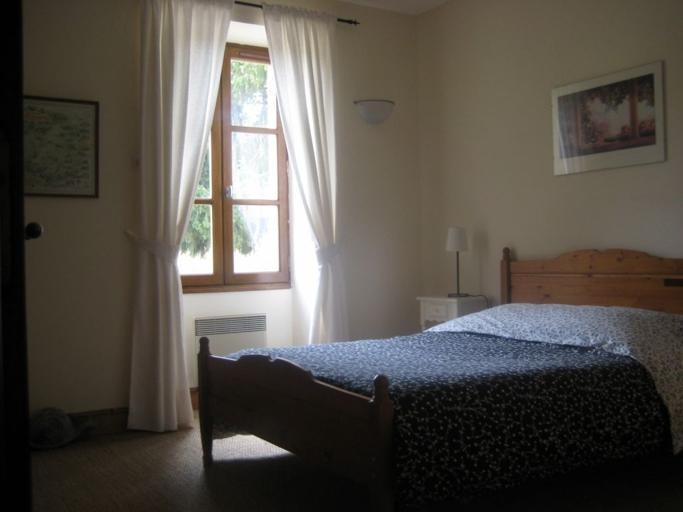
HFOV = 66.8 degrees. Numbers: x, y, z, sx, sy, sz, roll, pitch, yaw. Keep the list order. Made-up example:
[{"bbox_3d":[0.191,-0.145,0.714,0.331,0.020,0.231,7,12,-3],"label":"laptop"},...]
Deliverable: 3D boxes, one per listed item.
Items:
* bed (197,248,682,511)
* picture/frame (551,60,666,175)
[{"bbox_3d":[0.670,0.584,3.144,2.376,1.413,1.497,-1,2,-32],"label":"bed"},{"bbox_3d":[1.869,-0.958,3.566,0.034,0.787,0.815,0,-1,-38],"label":"picture/frame"}]
